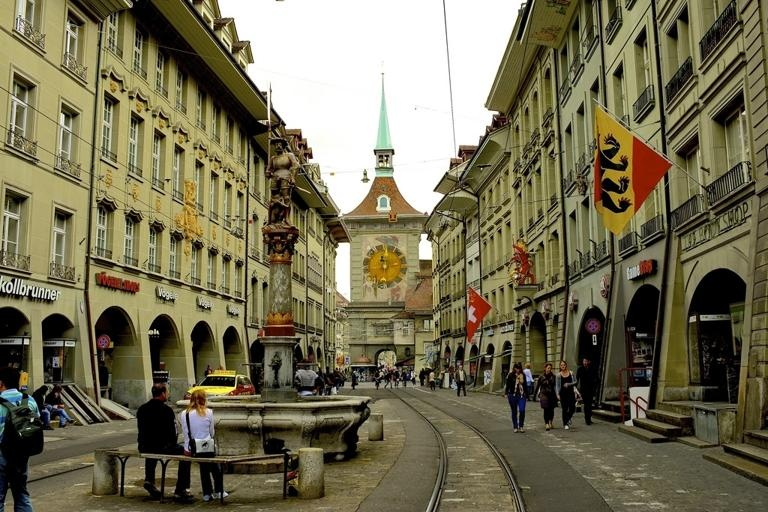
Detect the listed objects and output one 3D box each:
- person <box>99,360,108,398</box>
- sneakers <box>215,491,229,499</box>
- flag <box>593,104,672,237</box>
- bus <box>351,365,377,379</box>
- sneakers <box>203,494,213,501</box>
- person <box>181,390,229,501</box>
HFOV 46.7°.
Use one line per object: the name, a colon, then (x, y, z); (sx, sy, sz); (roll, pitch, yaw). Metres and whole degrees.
person: (-12.468, 5.436, 39.661); (0.483, 1.581, 1.798); (4, -16, -17)
sneakers: (-3.931, 5.817, 21.582); (0.207, 0.109, 0.311); (0, -7, -1)
flag: (7.956, -3.163, 29.694); (0.956, 4.388, 3.174); (5, -15, -21)
bus: (-2.339, 14.780, 113.710); (3.475, 2.361, 3.720); (-1, -16, 0)
sneakers: (-4.241, 5.873, 21.565); (0.223, 0.172, 0.123); (-8, -2, 16)
person: (-4.457, 4.663, 22.050); (1.175, 2.762, 1.197); (4, -14, -13)
